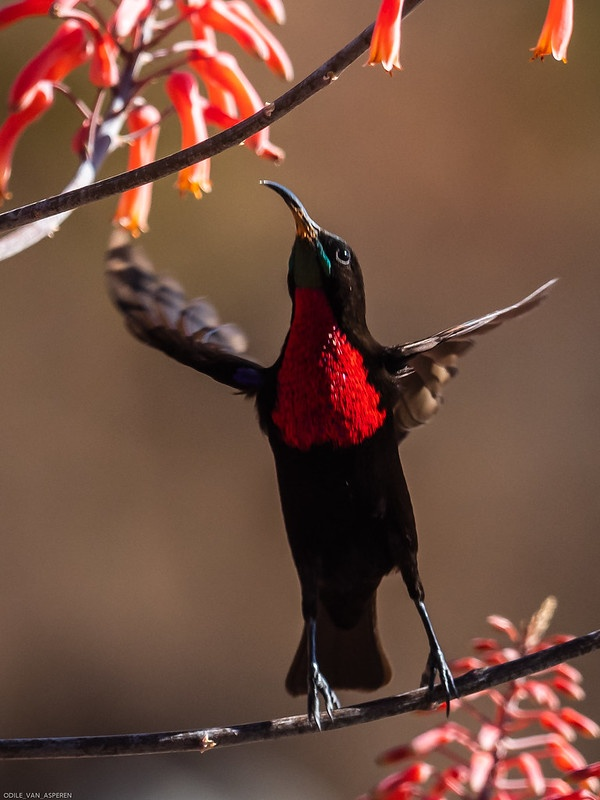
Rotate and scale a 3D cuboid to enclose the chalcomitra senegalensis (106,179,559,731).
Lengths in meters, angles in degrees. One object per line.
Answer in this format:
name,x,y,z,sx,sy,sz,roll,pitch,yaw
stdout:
chalcomitra senegalensis,-0.017,0.035,0.881,0.374,0.456,0.245,10,24,29
